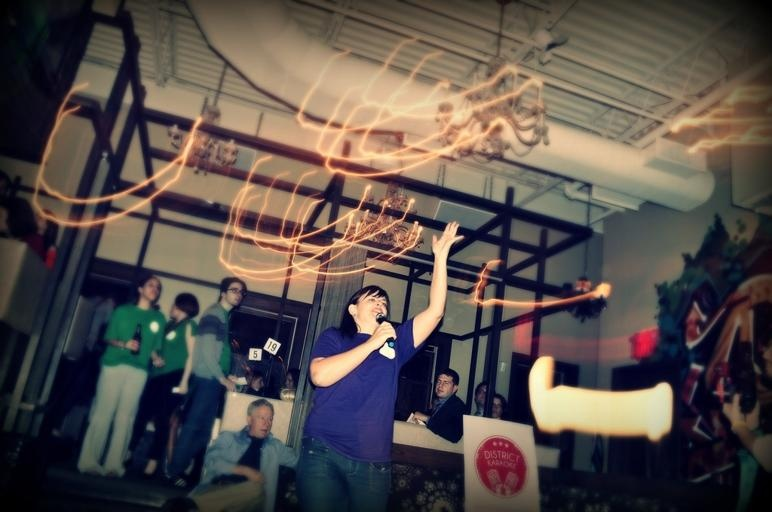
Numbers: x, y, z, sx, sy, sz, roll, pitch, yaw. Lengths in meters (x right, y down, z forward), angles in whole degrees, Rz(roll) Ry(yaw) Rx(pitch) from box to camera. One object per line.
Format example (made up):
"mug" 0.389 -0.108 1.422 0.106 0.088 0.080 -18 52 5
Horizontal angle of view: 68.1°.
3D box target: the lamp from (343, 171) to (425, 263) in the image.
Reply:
"lamp" 0.024 -0.452 9.051 1.219 1.468 1.220 8 -26 -5

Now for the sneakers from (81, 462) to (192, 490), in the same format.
"sneakers" -2.928 2.586 6.708 0.676 0.277 0.203 3 -43 0

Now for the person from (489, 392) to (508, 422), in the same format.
"person" 1.804 2.393 9.145 0.172 0.429 0.763 2 -19 15

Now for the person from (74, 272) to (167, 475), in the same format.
"person" -3.228 1.586 6.966 0.633 2.021 0.391 17 -21 -28

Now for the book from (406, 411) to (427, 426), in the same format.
"book" 0.386 2.114 7.445 0.222 0.076 0.223 13 -9 -14
